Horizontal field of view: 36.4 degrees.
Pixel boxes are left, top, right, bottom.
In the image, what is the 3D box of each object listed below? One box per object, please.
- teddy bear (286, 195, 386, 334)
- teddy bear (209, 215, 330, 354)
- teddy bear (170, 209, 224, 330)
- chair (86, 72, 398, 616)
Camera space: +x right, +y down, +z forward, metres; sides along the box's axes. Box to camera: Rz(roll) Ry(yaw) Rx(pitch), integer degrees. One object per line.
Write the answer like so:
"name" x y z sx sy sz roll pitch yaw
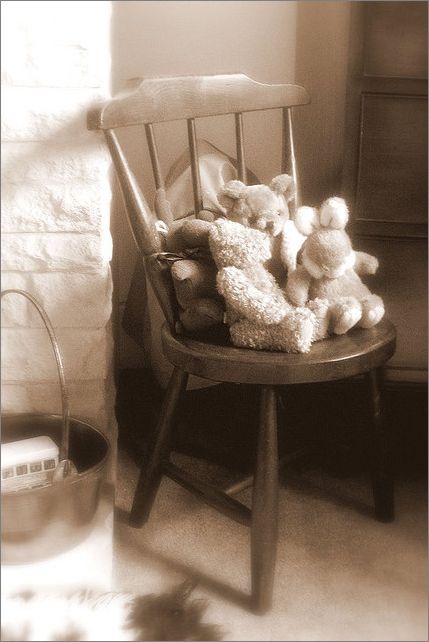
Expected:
"teddy bear" 0.147 -0.065 0.774 0.124 0.152 0.102 -27 36 -26
"teddy bear" 0.065 -0.040 0.753 0.110 0.133 0.147 -21 36 -31
"teddy bear" -0.021 -0.059 0.771 0.090 0.125 0.043 -20 19 -40
"chair" 0.048 0.008 0.861 0.460 0.588 0.390 1 22 -7
